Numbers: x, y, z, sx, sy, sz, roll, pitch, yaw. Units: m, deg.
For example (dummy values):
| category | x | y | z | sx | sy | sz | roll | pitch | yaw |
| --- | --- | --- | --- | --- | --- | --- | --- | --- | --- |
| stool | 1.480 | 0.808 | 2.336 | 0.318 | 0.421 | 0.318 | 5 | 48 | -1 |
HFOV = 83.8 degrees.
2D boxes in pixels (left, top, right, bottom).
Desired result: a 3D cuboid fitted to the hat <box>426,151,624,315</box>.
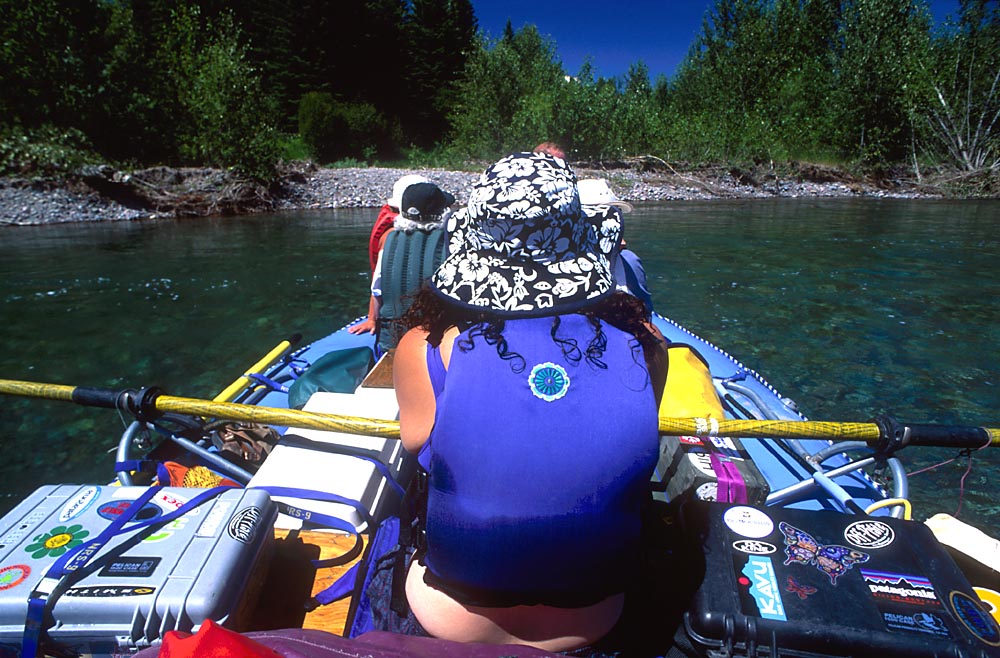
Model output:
| category | x | y | z | sx | sy | sz | roll | pitch | yaw |
| --- | --- | --- | --- | --- | --- | --- | --- | --- | --- |
| hat | 0.093 | -0.315 | 2.104 | 0.607 | 0.270 | 0.726 | -3 | 49 | 7 |

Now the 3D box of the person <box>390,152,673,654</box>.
| category | x | y | z | sx | sy | sz | roll | pitch | yaw |
| --- | --- | --- | --- | --- | --- | --- | --- | --- | --- |
| person | 0.082 | 0.315 | 2.144 | 1.017 | 1.805 | 0.651 | 4 | 18 | 16 |
